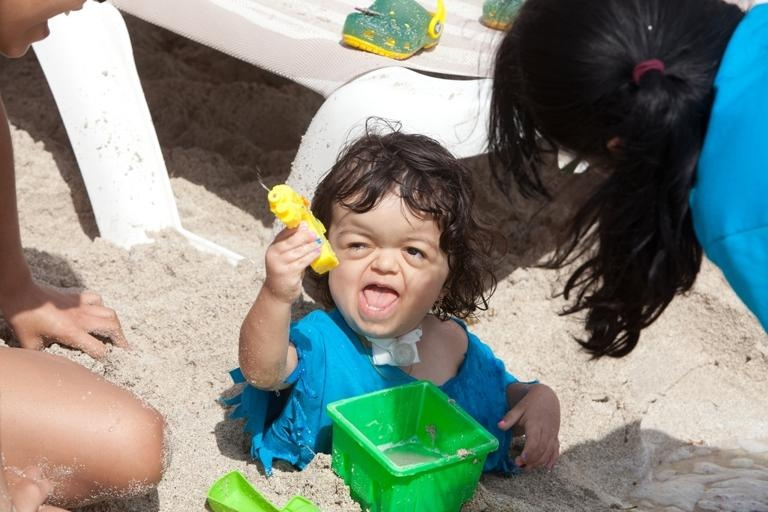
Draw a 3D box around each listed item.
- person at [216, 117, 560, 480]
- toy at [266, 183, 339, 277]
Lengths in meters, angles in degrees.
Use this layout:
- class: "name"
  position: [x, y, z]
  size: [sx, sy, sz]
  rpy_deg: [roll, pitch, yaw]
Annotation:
- class: "person"
  position: [0.003, 0.189, 3.199]
  size: [1.400, 1.514, 0.981]
  rpy_deg: [-1, 9, -14]
- class: "toy"
  position: [-0.255, -0.089, 2.616]
  size: [0.191, 0.244, 0.241]
  rpy_deg: [-8, 48, -22]
